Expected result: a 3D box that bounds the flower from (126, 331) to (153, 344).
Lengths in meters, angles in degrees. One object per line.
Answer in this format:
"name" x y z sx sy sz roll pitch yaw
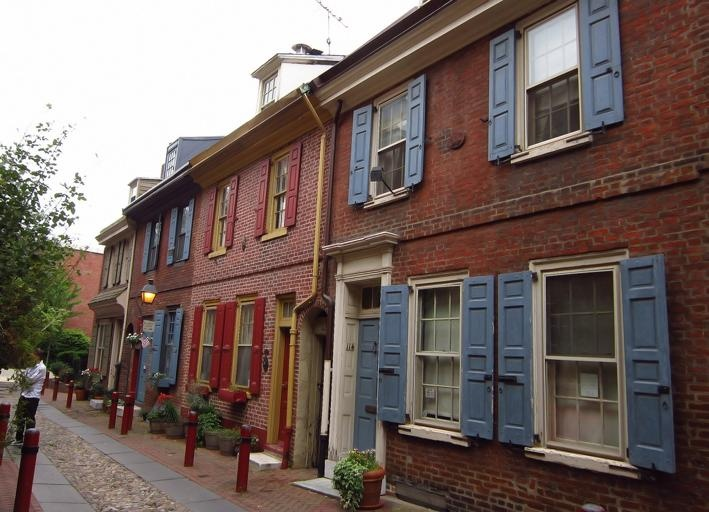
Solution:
"flower" -6.630 2.527 17.068 0.667 0.356 0.622 -1 -11 12
